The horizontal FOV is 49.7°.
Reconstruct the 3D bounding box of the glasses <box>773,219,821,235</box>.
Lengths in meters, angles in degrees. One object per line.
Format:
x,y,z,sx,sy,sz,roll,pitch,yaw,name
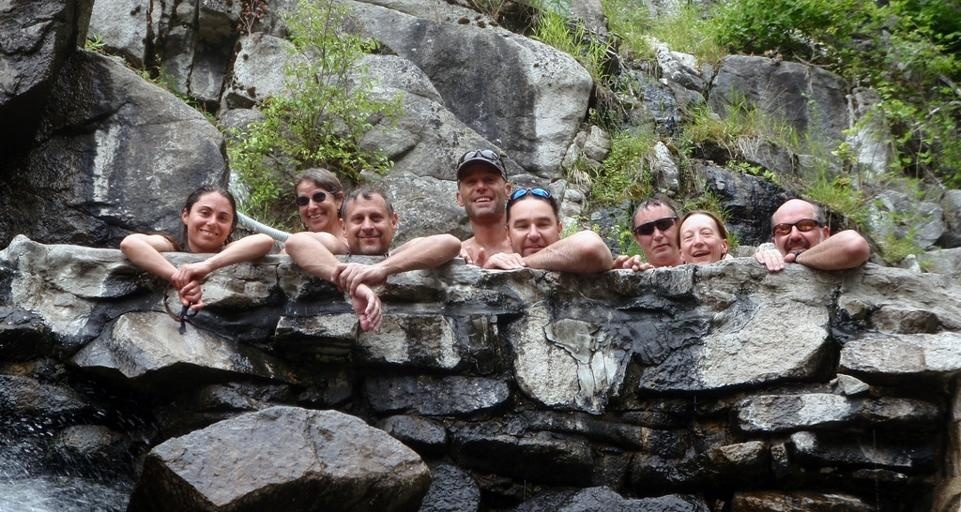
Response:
3.215,-0.290,10.410,0.433,0.208,0.088,8,24,0,glasses
